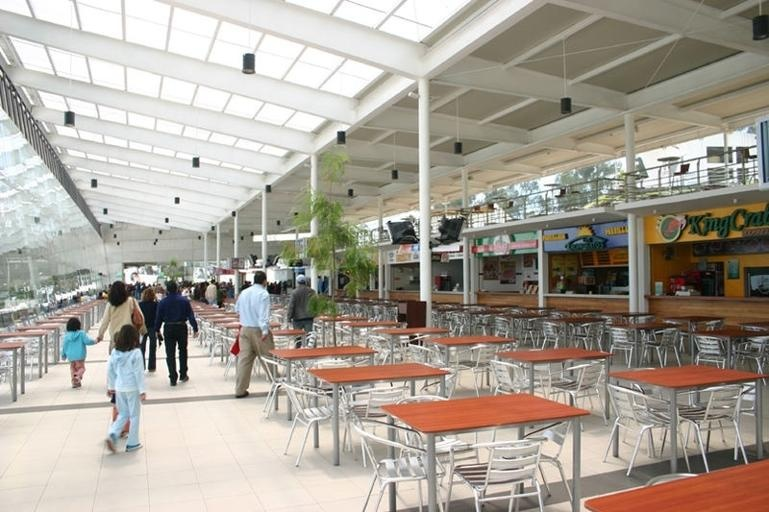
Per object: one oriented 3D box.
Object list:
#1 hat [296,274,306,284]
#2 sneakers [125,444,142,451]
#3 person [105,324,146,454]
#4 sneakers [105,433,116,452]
[{"bbox_3d":[-1.990,0.549,12.230,0.215,0.178,0.236,-2,4,-10],"label":"hat"},{"bbox_3d":[-3.625,2.746,7.438,0.242,0.080,0.079,-6,8,-42],"label":"sneakers"},{"bbox_3d":[-3.691,1.871,7.250,0.648,1.690,0.576,-4,-10,-24],"label":"person"},{"bbox_3d":[-3.895,2.651,7.299,0.123,0.283,0.127,-10,26,-9],"label":"sneakers"}]
